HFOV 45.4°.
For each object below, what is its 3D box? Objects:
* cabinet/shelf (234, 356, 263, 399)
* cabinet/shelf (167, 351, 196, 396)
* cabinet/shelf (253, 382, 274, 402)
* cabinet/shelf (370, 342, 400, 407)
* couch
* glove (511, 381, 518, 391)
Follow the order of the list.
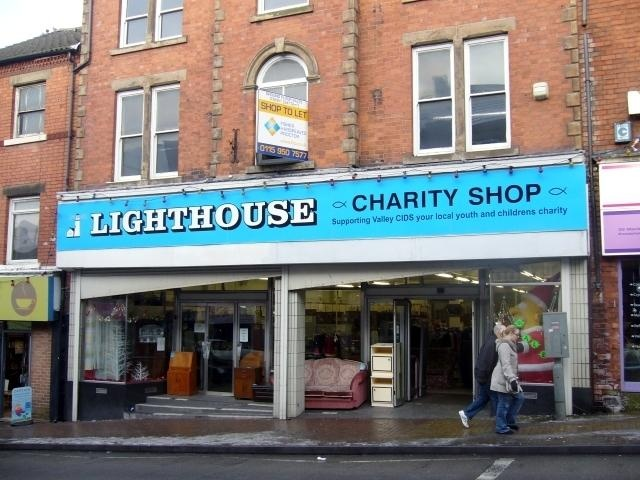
[{"bbox_3d":[-1.948,3.691,20.910,0.783,1.286,0.832,-6,-10,21],"label":"cabinet/shelf"},{"bbox_3d":[-3.917,3.742,21.655,0.767,1.103,0.709,-1,-3,24],"label":"cabinet/shelf"},{"bbox_3d":[-1.481,3.984,20.043,0.663,0.443,0.409,0,-3,12],"label":"cabinet/shelf"},{"bbox_3d":[1.620,3.436,19.387,0.693,1.570,0.367,-3,-10,3],"label":"cabinet/shelf"},{"bbox_3d":[0.255,3.695,19.780,1.923,1.114,1.382,-3,-3,15],"label":"couch"},{"bbox_3d":[3.828,2.878,15.071,0.120,0.237,0.176,-10,-12,36],"label":"glove"}]
